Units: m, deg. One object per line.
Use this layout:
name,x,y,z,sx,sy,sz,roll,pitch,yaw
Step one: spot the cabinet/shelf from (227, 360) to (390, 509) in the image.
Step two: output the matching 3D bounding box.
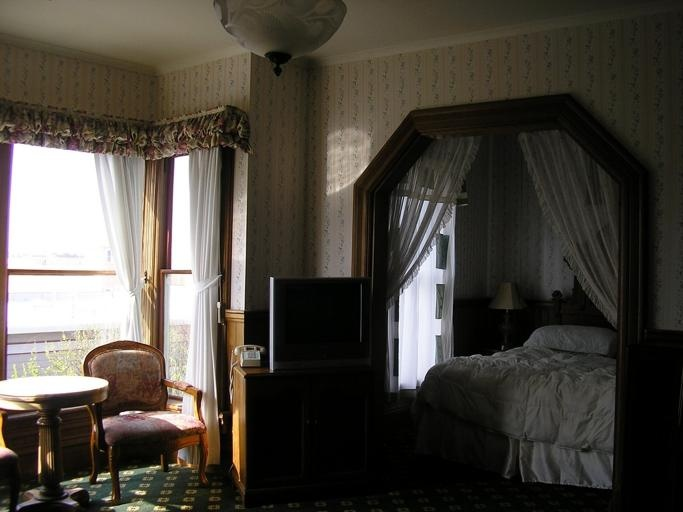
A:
cabinet/shelf,-0.313,1.123,4.806,1.259,1.366,0.821,-1,-4,-12

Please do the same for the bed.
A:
bed,1.721,1.343,5.582,1.587,1.074,1.889,-1,-3,27

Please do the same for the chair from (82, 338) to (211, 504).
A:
chair,-1.609,1.276,4.681,1.124,1.277,1.225,-3,-8,4

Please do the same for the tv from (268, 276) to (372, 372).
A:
tv,-0.168,0.460,4.754,0.788,0.767,0.439,-1,16,-6
